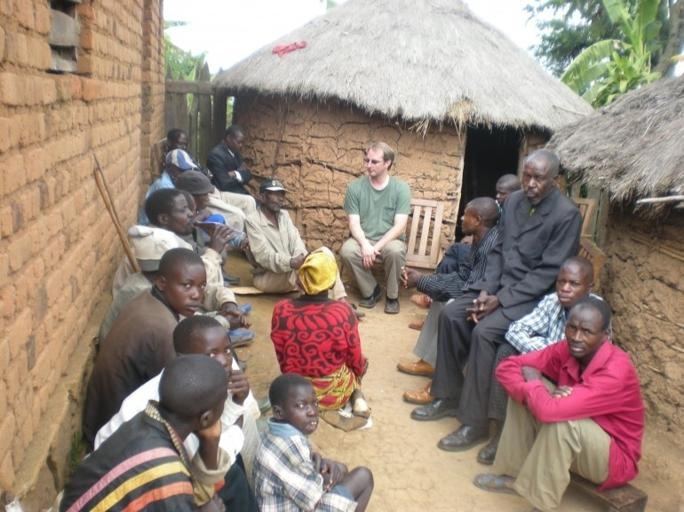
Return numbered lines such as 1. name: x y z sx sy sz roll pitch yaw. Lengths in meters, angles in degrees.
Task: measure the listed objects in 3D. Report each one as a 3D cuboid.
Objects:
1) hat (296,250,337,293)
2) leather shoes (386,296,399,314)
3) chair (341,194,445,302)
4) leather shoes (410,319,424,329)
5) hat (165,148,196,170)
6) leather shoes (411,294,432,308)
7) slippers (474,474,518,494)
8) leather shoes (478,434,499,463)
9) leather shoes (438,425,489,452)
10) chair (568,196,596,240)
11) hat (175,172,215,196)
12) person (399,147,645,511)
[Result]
1. hat: -0.160 0.128 4.112 0.289 0.134 0.207 19 47 5
2. leather shoes: 0.620 0.600 6.748 0.179 0.186 0.228 4 16 8
3. chair: 0.680 -0.265 6.966 0.743 1.082 0.783 8 14 16
4. leather shoes: 0.862 0.797 6.357 0.196 0.087 0.075 4 0 -3
5. hat: -1.798 -1.084 6.136 0.352 0.198 0.229 17 26 18
6. leather shoes: 0.804 0.451 5.612 0.112 0.074 0.179 24 -9 -35
7. slippers: 1.096 1.599 3.888 0.262 0.119 0.116 8 3 4
8. leather shoes: 1.124 1.462 4.189 0.129 0.176 0.222 9 17 23
9. leather shoes: 0.960 1.440 4.385 0.413 0.174 0.166 -5 9 -21
10. chair: 2.469 -0.383 5.556 0.272 0.436 0.269 -4 6 16
11. hat: -1.472 -0.756 5.453 0.299 0.163 0.223 -15 31 -30
12. person: 1.316 0.309 4.498 1.064 2.293 1.366 16 21 40
